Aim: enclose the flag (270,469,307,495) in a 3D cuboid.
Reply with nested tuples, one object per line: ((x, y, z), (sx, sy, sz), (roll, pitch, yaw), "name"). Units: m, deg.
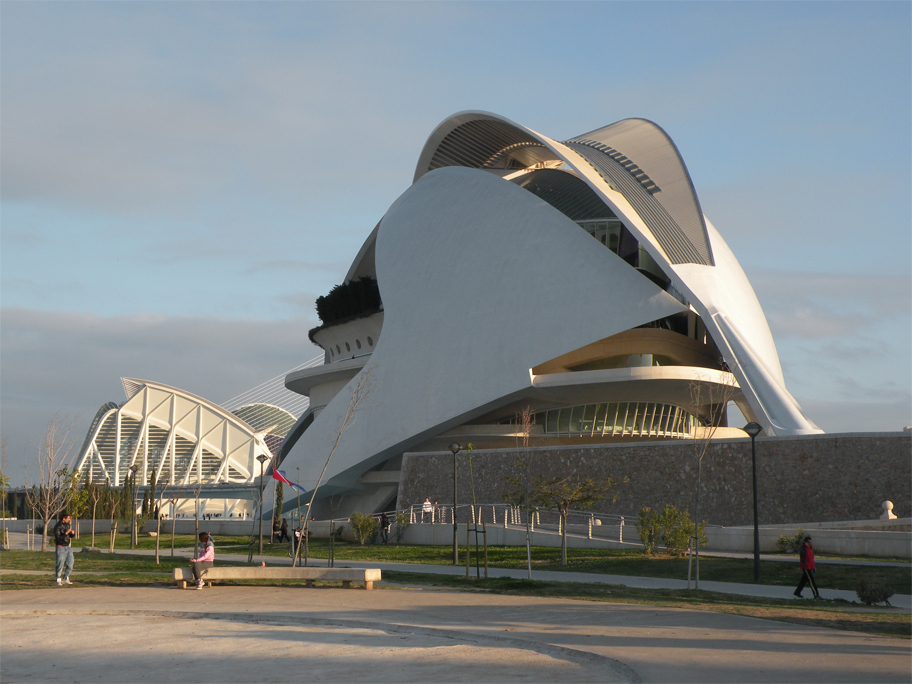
((-6.832, 5.766, 61.264), (0.215, 0.492, 2.024), (-32, 25, -21), "flag")
